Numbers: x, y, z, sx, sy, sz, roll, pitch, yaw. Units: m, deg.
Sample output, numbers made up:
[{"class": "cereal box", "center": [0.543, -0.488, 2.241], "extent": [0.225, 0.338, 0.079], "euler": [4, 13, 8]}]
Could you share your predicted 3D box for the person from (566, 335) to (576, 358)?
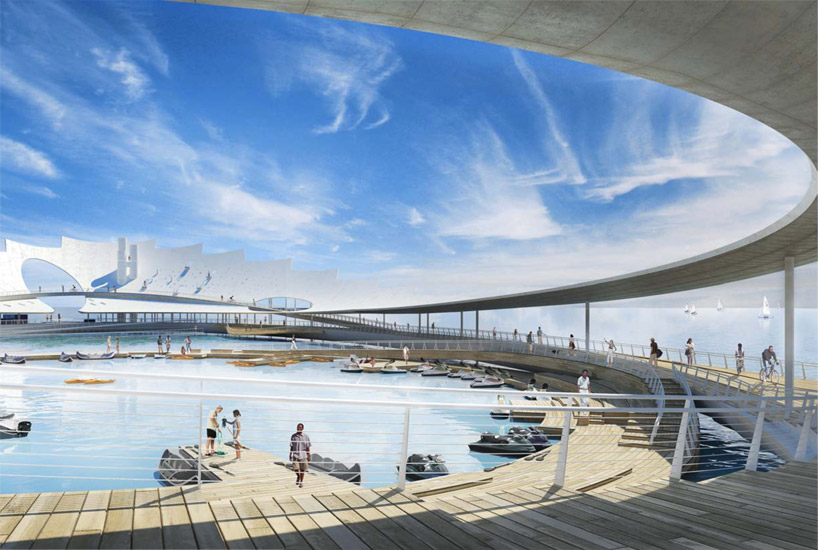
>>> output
[{"class": "person", "center": [7.939, 3.432, 25.602], "extent": [0.394, 0.989, 1.377], "euler": [-7, -13, 17]}]
